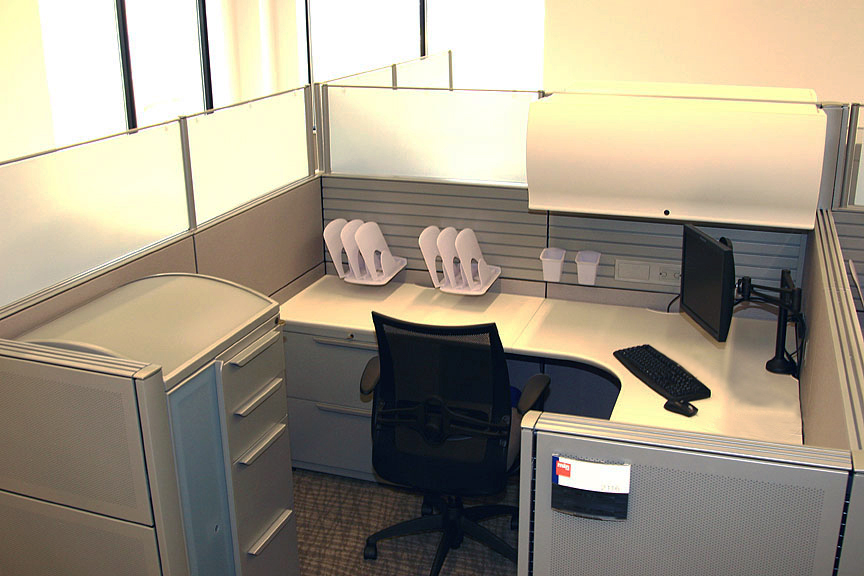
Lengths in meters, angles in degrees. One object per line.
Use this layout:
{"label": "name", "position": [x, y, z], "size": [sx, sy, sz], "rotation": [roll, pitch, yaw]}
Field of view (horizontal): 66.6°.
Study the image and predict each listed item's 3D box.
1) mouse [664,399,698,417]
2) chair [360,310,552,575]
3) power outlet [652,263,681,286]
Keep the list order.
{"label": "mouse", "position": [1.066, 0.512, 2.813], "size": [0.061, 0.034, 0.109], "rotation": [-13, 18, -37]}
{"label": "chair", "position": [0.089, 0.706, 2.946], "size": [0.821, 1.297, 0.821], "rotation": [5, 35, 12]}
{"label": "power outlet", "position": [1.277, -0.081, 3.587], "size": [0.185, 0.136, 0.103], "rotation": [5, 16, 23]}
